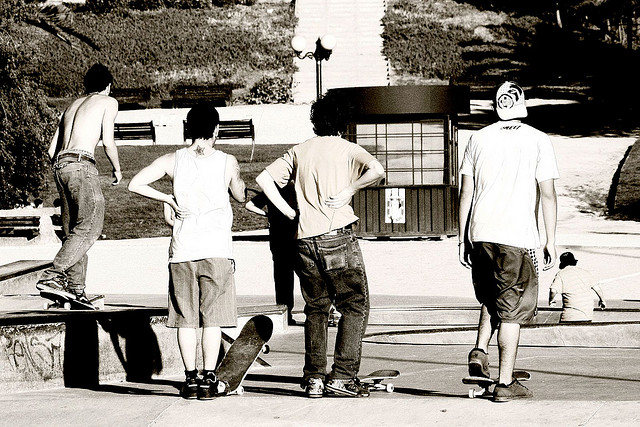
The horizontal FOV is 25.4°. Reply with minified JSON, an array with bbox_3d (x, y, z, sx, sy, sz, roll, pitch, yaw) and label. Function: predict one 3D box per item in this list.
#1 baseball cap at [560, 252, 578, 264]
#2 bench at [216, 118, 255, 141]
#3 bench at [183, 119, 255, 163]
[{"bbox_3d":[5.883,1.048,33.777,0.337,0.241,0.284,1,9,8],"label":"baseball cap"},{"bbox_3d":[-3.253,-3.261,55.013,1.048,0.904,2.328,-6,10,-32],"label":"bench"},{"bbox_3d":[-3.962,-2.823,55.282,2.689,1.847,1.000,2,6,-1],"label":"bench"}]
